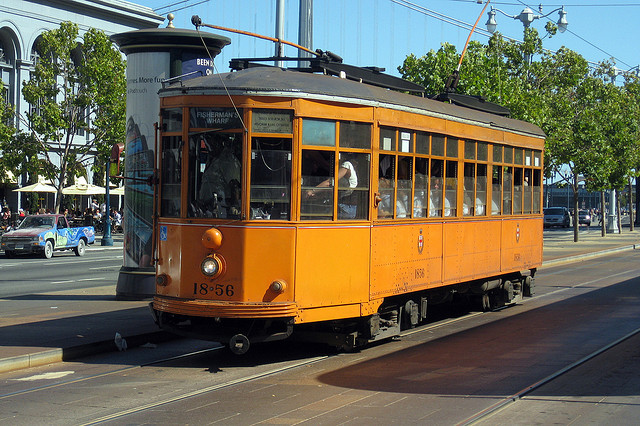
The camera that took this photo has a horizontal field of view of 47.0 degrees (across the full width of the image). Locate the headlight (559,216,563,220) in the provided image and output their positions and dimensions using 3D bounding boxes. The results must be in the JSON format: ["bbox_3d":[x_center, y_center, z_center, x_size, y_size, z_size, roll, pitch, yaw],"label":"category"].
[{"bbox_3d":[20.353,0.446,62.389,0.278,0.213,0.069,1,5,2],"label":"headlight"}]

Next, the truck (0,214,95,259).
[{"bbox_3d":[-12.032,1.104,33.002,1.570,1.149,3.041,-3,-5,22],"label":"truck"}]

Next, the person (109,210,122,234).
[{"bbox_3d":[-13.766,0.675,50.104,0.655,1.360,1.129,-1,5,-15],"label":"person"}]

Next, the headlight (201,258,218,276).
[{"bbox_3d":[-1.834,0.909,12.399,0.247,0.258,0.253,-34,-10,28],"label":"headlight"}]

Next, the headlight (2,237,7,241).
[{"bbox_3d":[-13.544,1.120,31.805,0.348,0.182,0.055,4,6,40],"label":"headlight"}]

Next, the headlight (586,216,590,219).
[{"bbox_3d":[25.444,0.449,70.155,0.251,0.230,0.602,5,6,42],"label":"headlight"}]

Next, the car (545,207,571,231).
[{"bbox_3d":[20.206,0.306,62.864,1.414,1.275,2.401,-3,-8,24],"label":"car"}]
